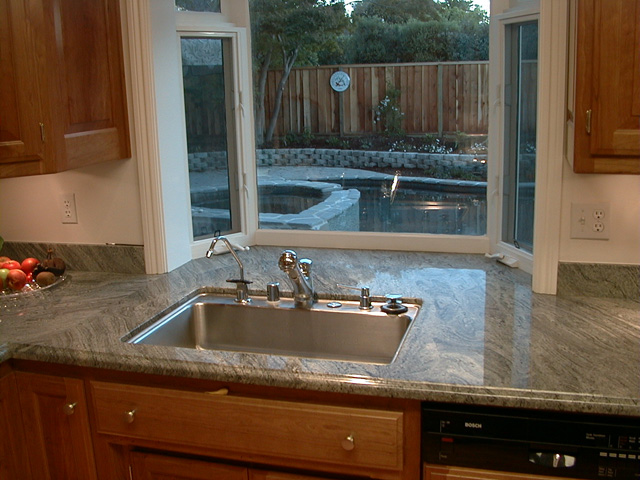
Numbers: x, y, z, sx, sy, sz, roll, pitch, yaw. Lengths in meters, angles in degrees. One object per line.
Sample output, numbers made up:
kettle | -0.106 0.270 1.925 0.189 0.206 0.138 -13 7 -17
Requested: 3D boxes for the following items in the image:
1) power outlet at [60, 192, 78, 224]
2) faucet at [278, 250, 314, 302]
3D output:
power outlet | -1.211 -0.155 2.459 0.073 0.147 0.010 0 4 9
faucet | -0.089 0.142 2.085 0.139 0.233 0.225 -1 12 -1
